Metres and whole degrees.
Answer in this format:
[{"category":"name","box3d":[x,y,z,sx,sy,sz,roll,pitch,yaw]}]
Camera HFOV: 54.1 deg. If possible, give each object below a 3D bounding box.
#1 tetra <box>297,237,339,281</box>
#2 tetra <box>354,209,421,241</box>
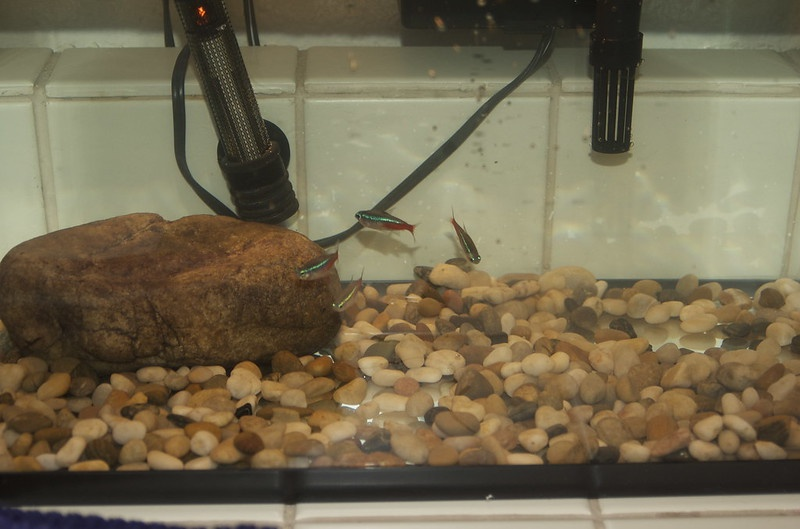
[{"category":"tetra","box3d":[-0.188,-0.002,1.867,0.033,0.079,0.192,4,15,30]},{"category":"tetra","box3d":[-0.030,-0.102,1.986,0.152,0.114,0.080,-3,34,-3]}]
